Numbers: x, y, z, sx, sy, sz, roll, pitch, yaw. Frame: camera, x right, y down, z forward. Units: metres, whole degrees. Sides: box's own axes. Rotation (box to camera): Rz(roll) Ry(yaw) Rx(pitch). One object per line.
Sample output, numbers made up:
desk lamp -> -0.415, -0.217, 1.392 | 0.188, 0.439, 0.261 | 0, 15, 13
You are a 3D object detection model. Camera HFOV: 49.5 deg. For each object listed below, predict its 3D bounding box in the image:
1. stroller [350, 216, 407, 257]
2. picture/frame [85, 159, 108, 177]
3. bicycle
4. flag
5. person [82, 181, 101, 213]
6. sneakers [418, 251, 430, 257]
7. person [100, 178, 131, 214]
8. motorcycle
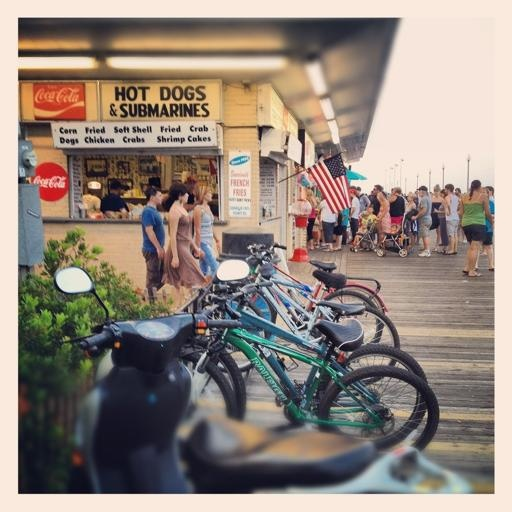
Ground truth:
stroller -> 3.701, -0.514, 16.517 | 1.632, 1.540, 1.113 | 6, 8, 13
picture/frame -> -3.289, -1.830, 11.436 | 0.143, 0.399, 0.642 | 1, 4, 31
bicycle -> 0.503, 0.557, 3.900 | 1.569, 1.036, 1.008 | 13, 19, 17
flag -> 1.113, -1.117, 8.470 | 0.574, 0.909, 0.365 | -1, 3, 5
person -> -3.239, -1.184, 11.005 | 0.350, 0.714, 1.296 | -2, 3, -15
sneakers -> 4.546, -0.057, 15.242 | 0.386, 0.233, 0.158 | 1, 1, 22
person -> -2.714, -1.129, 10.685 | 0.480, 0.665, 1.471 | -2, 3, -12
motorcycle -> -0.030, 0.535, 2.620 | 1.807, 1.259, 0.928 | 0, 0, 9
